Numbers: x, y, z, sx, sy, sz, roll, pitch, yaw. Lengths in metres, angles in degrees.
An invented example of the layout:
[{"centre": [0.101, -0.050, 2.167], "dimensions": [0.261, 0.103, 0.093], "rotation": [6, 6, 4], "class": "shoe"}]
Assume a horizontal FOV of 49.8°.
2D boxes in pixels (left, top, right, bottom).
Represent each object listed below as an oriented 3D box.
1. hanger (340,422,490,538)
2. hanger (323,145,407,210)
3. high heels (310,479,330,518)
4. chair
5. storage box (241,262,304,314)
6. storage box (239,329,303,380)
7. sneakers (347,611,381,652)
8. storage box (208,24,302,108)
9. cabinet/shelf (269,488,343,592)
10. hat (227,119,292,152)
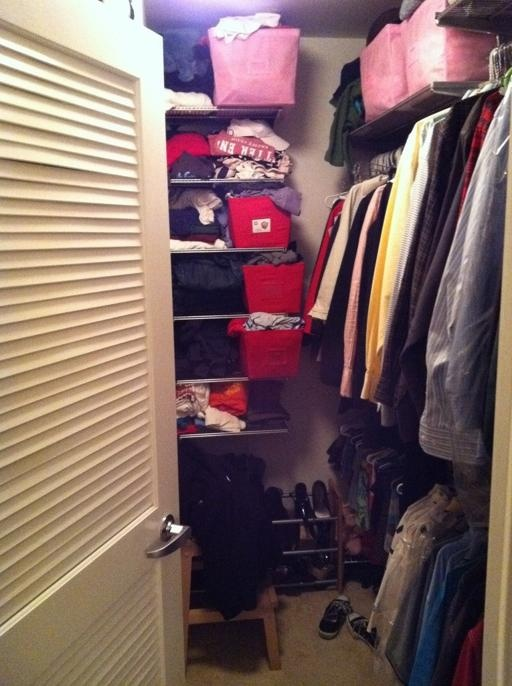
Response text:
[{"centre": [0.529, 0.544, 2.265], "dimensions": [0.362, 0.172, 0.475], "rotation": [1, 10, -1], "class": "hanger"}, {"centre": [0.513, -0.734, 2.339], "dimensions": [0.242, 0.101, 0.325], "rotation": [-17, 6, -16], "class": "hanger"}, {"centre": [0.313, 0.770, 2.710], "dimensions": [0.071, 0.077, 0.215], "rotation": [-2, 19, 2], "class": "high heels"}, {"centre": [-0.097, 0.985, 2.188], "dimensions": [0.355, 0.480, 0.489], "rotation": [-2, 5, 0], "class": "chair"}, {"centre": [0.070, -0.230, 2.297], "dimensions": [0.216, 0.222, 0.226], "rotation": [0, 7, -4], "class": "storage box"}, {"centre": [0.063, 0.044, 2.278], "dimensions": [0.234, 0.171, 0.190], "rotation": [-1, 5, -6], "class": "storage box"}, {"centre": [0.403, 1.103, 2.157], "dimensions": [0.069, 0.077, 0.205], "rotation": [-19, 20, -8], "class": "sneakers"}, {"centre": [-0.021, -1.063, 2.135], "dimensions": [0.444, 0.325, 0.257], "rotation": [-1, 38, -6], "class": "storage box"}, {"centre": [0.228, 0.912, 2.583], "dimensions": [0.321, 0.278, 0.439], "rotation": [-1, -7, -1], "class": "cabinet/shelf"}, {"centre": [0.011, -0.892, 2.345], "dimensions": [0.215, 0.063, 0.139], "rotation": [18, 24, -8], "class": "hat"}]
